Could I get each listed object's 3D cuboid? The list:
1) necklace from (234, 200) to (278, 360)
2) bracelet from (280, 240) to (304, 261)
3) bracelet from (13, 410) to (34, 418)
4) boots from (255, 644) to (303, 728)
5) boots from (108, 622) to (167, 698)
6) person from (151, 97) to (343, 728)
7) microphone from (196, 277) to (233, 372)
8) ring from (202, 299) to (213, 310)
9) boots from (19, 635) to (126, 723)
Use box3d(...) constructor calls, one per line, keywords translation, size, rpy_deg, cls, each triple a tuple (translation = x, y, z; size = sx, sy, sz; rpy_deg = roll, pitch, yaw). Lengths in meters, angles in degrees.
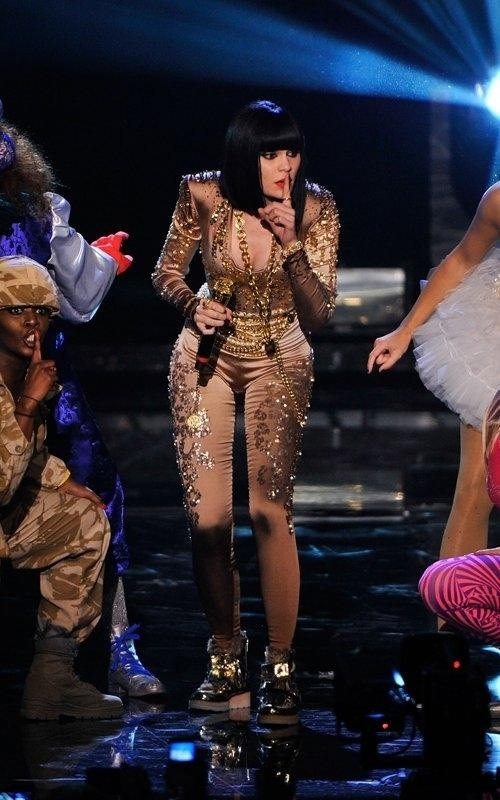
box3d(translation=(0.009, -0.269, 2.106), size=(0.122, 0.322, 0.039), rpy_deg=(-10, 13, -8), cls="necklace")
box3d(translation=(0.086, -0.341, 1.999), size=(0.039, 0.045, 0.063), rpy_deg=(-8, 5, -41), cls="bracelet")
box3d(translation=(-0.489, 0.027, 1.897), size=(0.027, 0.016, 0.024), rpy_deg=(8, 8, 12), cls="bracelet")
box3d(translation=(0.059, 0.690, 2.121), size=(0.101, 0.142, 0.248), rpy_deg=(-4, -1, 7), cls="boots")
box3d(translation=(-0.306, 0.700, 2.347), size=(0.091, 0.156, 0.246), rpy_deg=(2, -11, -38), cls="boots")
box3d(translation=(-0.006, 0.011, 2.185), size=(0.501, 1.484, 0.431), rpy_deg=(-5, 4, 19), cls="person")
box3d(translation=(-0.083, -0.187, 2.080), size=(0.075, 0.248, 0.072), rpy_deg=(12, 13, -3), cls="microphone")
box3d(translation=(-0.105, -0.229, 2.053), size=(0.012, 0.021, 0.026), rpy_deg=(-9, 16, 41), cls="ring")
box3d(translation=(-0.424, 0.668, 2.088), size=(0.261, 0.175, 0.087), rpy_deg=(16, -28, -30), cls="boots")
